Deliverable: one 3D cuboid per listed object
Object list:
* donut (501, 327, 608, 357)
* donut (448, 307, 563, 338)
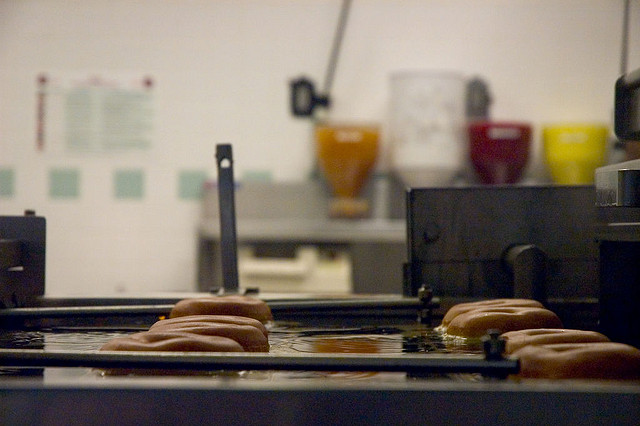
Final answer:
[{"bbox_3d":[0.457,0.256,2.228,0.174,0.052,0.174,-3,-8,0],"label":"donut"},{"bbox_3d":[0.375,0.239,2.382,0.204,0.076,0.204,-1,-2,-23],"label":"donut"}]
